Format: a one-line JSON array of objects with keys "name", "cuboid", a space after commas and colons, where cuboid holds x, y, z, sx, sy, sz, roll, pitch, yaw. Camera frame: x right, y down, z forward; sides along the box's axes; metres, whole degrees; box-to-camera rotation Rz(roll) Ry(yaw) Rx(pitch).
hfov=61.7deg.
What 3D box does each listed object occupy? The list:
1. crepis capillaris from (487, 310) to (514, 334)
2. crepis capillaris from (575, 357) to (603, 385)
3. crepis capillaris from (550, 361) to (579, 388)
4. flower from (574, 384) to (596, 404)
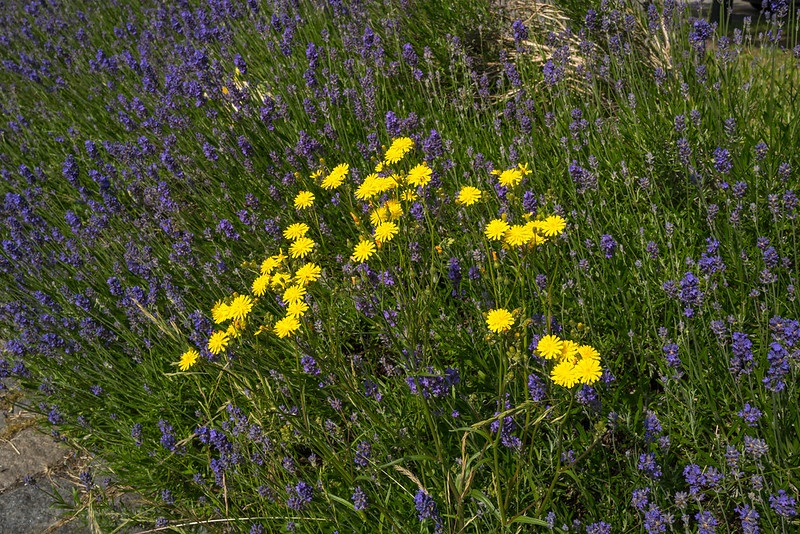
[{"name": "crepis capillaris", "cuboid": [0.481, 0.269, 3.207, 0.116, 0.112, 0.109, 8, 47, 31]}, {"name": "crepis capillaris", "cuboid": [0.864, 0.479, 3.077, 0.116, 0.093, 0.107, -12, 40, 12]}, {"name": "crepis capillaris", "cuboid": [0.754, 0.494, 3.070, 0.123, 0.072, 0.105, -7, 41, 18]}, {"name": "flower", "cuboid": [0.867, 0.594, 3.162, 0.095, 0.093, 0.086, 0, 32, -9]}]
